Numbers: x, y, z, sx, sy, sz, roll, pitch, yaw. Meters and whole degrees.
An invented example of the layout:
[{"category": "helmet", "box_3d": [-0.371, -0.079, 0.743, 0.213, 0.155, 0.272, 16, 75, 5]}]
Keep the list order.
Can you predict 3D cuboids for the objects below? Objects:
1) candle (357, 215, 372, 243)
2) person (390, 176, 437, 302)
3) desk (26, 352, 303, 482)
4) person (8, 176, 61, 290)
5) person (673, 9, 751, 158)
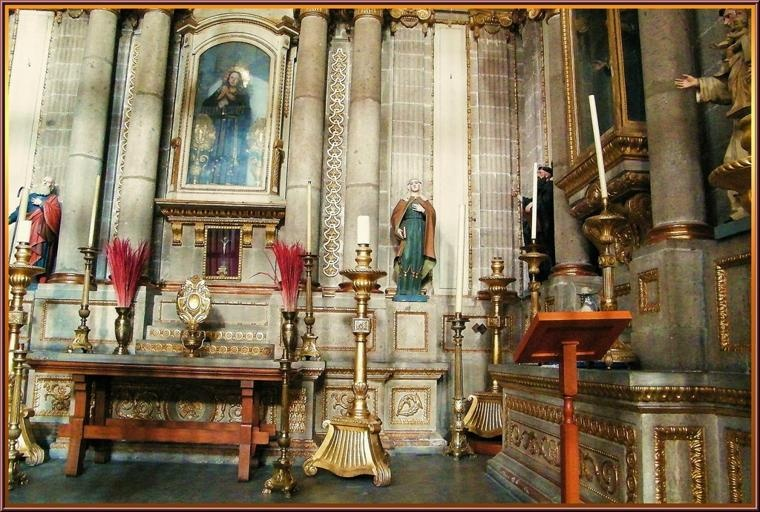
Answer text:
[{"category": "candle", "box_3d": [-0.147, -0.234, 7.403, 0.081, 0.246, 0.130, 1, -5, -11]}, {"category": "person", "box_3d": [0.419, -0.238, 10.218, 0.538, 1.446, 0.294, 1, -5, -2]}, {"category": "desk", "box_3d": [-2.143, 1.567, 8.154, 2.266, 1.159, 0.976, 0, -5, 1]}, {"category": "person", "box_3d": [-4.255, -0.355, 10.124, 0.534, 1.366, 0.582, 3, -6, -27]}, {"category": "person", "box_3d": [2.871, -1.466, 6.763, 0.468, 1.385, 0.803, 1, -5, -9]}]
